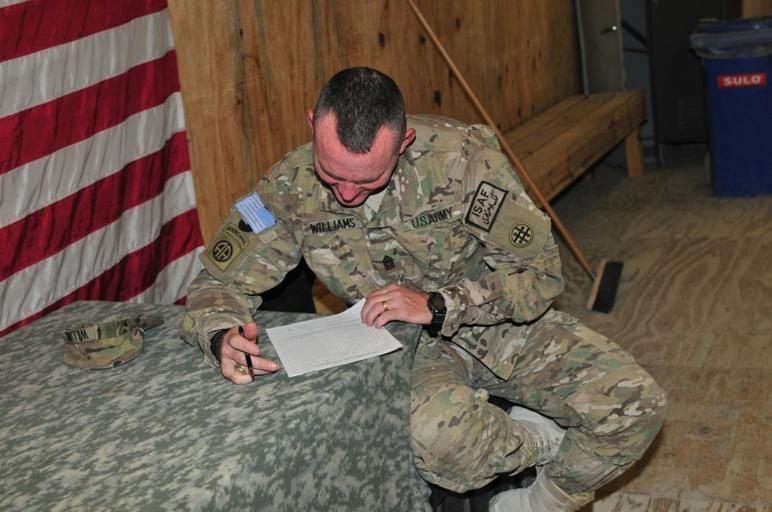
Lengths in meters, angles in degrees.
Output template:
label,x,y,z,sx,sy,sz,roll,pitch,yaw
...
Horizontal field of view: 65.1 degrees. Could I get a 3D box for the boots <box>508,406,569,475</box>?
label,x,y,z,sx,sy,sz,roll,pitch,yaw
boots,0.566,0.657,2.234,0.170,0.089,0.218,-32,64,-35

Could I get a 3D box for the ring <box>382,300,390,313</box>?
label,x,y,z,sx,sy,sz,roll,pitch,yaw
ring,-0.002,0.163,1.939,0.024,0.027,0.021,10,-12,8
